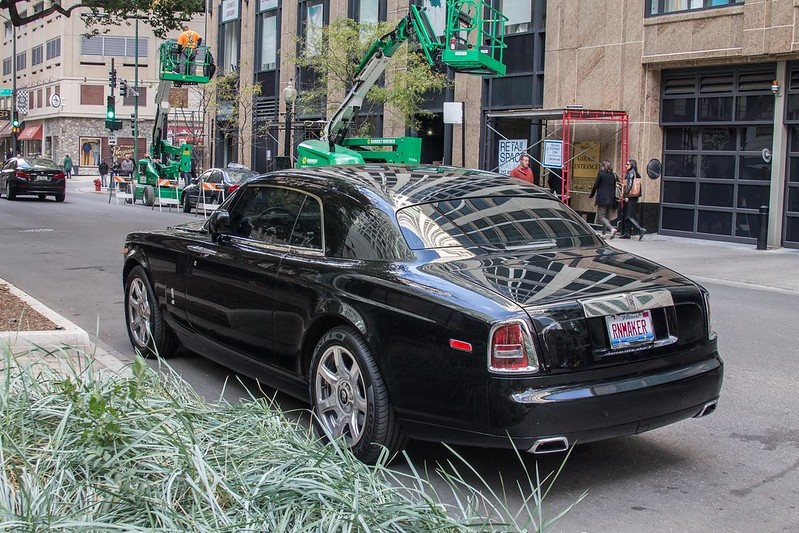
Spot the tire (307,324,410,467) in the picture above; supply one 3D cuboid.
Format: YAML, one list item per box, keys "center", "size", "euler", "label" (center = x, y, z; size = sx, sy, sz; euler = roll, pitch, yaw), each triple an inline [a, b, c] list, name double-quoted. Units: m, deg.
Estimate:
- center: [-0.265, 0.915, 4.410]
  size: [0.251, 0.783, 0.766]
  euler: [1, -30, -38]
  label: "tire"

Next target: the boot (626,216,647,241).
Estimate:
- center: [7.846, -1.285, 20.742]
  size: [0.629, 0.941, 0.421]
  euler: [-40, 50, -23]
  label: "boot"

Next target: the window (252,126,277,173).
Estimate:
- center: [-8.564, -7.382, 38.850]
  size: [1.964, 3.572, 0.204]
  euler: [-3, -30, -10]
  label: "window"

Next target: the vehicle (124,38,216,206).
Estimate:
- center: [-11.516, -6.979, 31.032]
  size: [6.321, 7.756, 2.347]
  euler: [17, 19, 42]
  label: "vehicle"

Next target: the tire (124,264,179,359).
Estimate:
- center: [-2.849, 0.518, 7.229]
  size: [0.369, 1.030, 1.022]
  euler: [-2, 42, -41]
  label: "tire"

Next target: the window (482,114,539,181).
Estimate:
- center: [4.747, -4.611, 25.290]
  size: [2.472, 0.143, 3.139]
  euler: [1, -37, 10]
  label: "window"

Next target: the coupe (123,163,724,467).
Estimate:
- center: [-0.091, 0.224, 5.300]
  size: [4.728, 2.222, 1.996]
  euler: [7, 7, 40]
  label: "coupe"
